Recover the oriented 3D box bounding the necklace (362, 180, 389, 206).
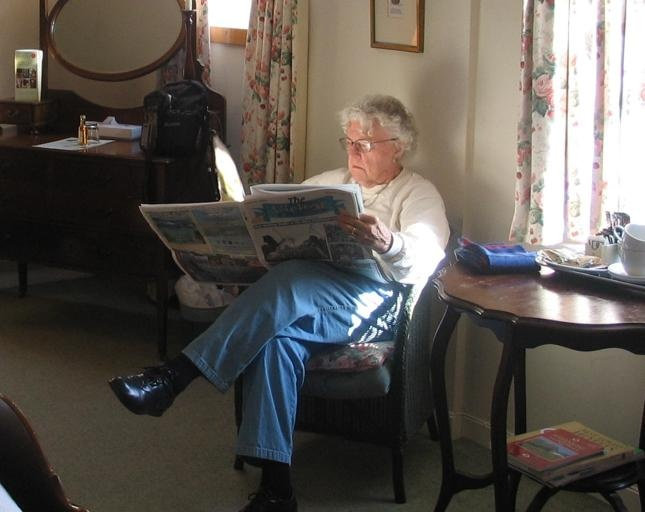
[{"bbox_3d":[0.212,-0.261,2.354,0.095,0.097,0.075,1,-4,-24],"label":"necklace"}]

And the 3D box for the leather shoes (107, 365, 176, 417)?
[{"bbox_3d":[-0.541,0.414,1.761,0.079,0.133,0.200,-17,-7,21],"label":"leather shoes"}]

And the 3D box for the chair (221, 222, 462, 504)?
[{"bbox_3d":[0.171,0.293,2.202,0.642,1.003,0.746,4,9,25],"label":"chair"}]

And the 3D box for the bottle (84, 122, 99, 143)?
[{"bbox_3d":[-1.184,-0.642,2.947,0.085,0.110,0.078,3,14,-1],"label":"bottle"}]

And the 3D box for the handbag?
[{"bbox_3d":[-0.690,-0.644,2.782,0.283,0.436,0.380,7,8,34],"label":"handbag"}]

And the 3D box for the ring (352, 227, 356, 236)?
[{"bbox_3d":[0.100,-0.081,1.824,0.018,0.021,0.005,5,9,10],"label":"ring"}]
